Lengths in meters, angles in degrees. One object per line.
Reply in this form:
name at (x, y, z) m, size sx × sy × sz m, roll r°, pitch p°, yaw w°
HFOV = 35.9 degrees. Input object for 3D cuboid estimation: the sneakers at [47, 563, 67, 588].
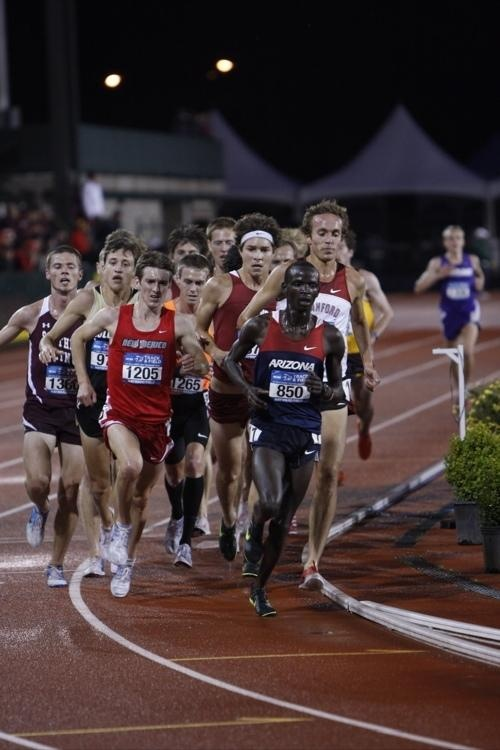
sneakers at (-1.275, 1.319, 5.108) m, size 0.126 × 0.137 × 0.200 m, roll -1°, pitch -3°, yaw -14°

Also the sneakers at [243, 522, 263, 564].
sneakers at (0.023, 0.990, 4.539) m, size 0.126 × 0.296 × 0.143 m, roll 0°, pitch 1°, yaw -19°

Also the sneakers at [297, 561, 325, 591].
sneakers at (0.362, 1.252, 4.773) m, size 0.126 × 0.189 × 0.224 m, roll 0°, pitch -3°, yaw -20°

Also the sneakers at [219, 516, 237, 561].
sneakers at (-0.156, 1.154, 5.470) m, size 0.115 × 0.287 × 0.134 m, roll -5°, pitch 12°, yaw -10°

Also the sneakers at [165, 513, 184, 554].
sneakers at (-0.598, 1.202, 5.923) m, size 0.119 × 0.301 × 0.139 m, roll 3°, pitch -8°, yaw -21°

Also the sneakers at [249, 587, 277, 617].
sneakers at (0.072, 1.259, 4.305) m, size 0.133 × 0.168 × 0.220 m, roll -1°, pitch -3°, yaw 0°

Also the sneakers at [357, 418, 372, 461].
sneakers at (1.405, 0.757, 9.160) m, size 0.181 × 0.497 × 0.230 m, roll -1°, pitch -5°, yaw -2°

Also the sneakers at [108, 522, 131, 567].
sneakers at (-0.755, 1.016, 4.631) m, size 0.115 × 0.294 × 0.126 m, roll 12°, pitch -32°, yaw -35°

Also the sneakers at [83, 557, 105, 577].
sneakers at (-1.081, 1.329, 5.338) m, size 0.094 × 0.089 × 0.216 m, roll 2°, pitch -15°, yaw -6°
